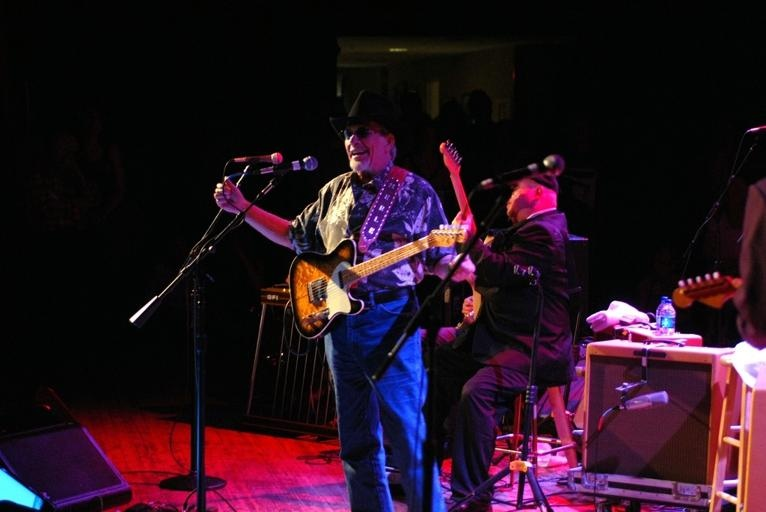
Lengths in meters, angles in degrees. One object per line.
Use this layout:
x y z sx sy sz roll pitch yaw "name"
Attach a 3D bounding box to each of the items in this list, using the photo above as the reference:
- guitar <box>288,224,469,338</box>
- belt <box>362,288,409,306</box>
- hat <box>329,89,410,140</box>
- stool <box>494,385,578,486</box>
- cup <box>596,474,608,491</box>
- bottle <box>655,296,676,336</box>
-0.070 0.139 4.617 0.813 0.342 0.116 -22 -18 26 "guitar"
0.016 0.247 4.543 0.309 0.103 0.041 0 12 -15 "belt"
-0.042 -0.917 4.843 0.311 0.152 0.396 -7 -31 15 "hat"
1.114 1.366 5.807 0.427 0.522 0.449 -13 -7 -14 "stool"
1.536 1.597 5.181 0.081 0.161 0.090 -1 -1 6 "cup"
2.105 0.440 5.504 0.127 0.211 0.403 7 13 20 "bottle"
